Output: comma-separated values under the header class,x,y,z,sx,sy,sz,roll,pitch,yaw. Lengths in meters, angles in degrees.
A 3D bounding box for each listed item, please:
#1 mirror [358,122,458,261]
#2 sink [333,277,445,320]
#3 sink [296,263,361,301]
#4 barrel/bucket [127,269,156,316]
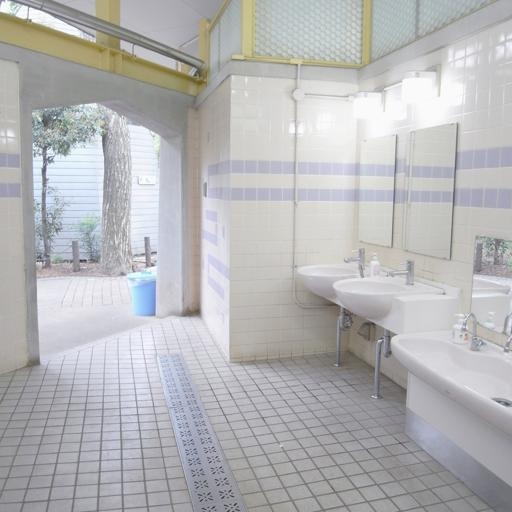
class,x,y,z,sx,sy,sz,roll,pitch,yaw
mirror,1.031,-0.437,2.871,0.095,0.743,1.004,-1,4,-13
sink,0.785,0.273,2.728,0.603,0.208,0.568,-1,6,-10
sink,0.532,0.205,3.393,0.492,0.217,0.556,2,7,2
barrel/bucket,-1.327,0.463,5.328,0.411,0.463,0.467,0,4,1
